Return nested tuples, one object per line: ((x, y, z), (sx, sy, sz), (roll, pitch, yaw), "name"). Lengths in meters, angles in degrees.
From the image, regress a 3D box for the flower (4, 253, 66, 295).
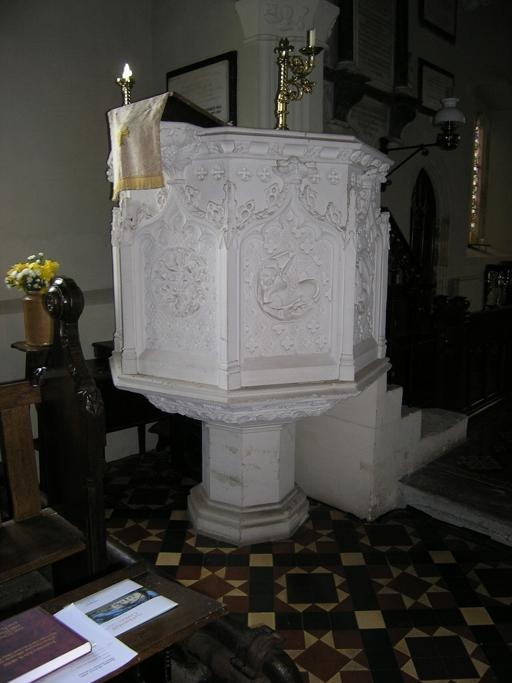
((-1.115, -0.337, 3.189), (0.304, 0.194, 0.281), (-11, 17, -10), "flower")

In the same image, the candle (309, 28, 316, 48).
((0.199, -1.101, 2.338), (0.022, 0.060, 0.027), (-2, 14, -7), "candle")

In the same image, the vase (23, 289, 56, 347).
((-1.128, -0.118, 3.278), (0.237, 0.276, 0.096), (10, 18, 38), "vase")
